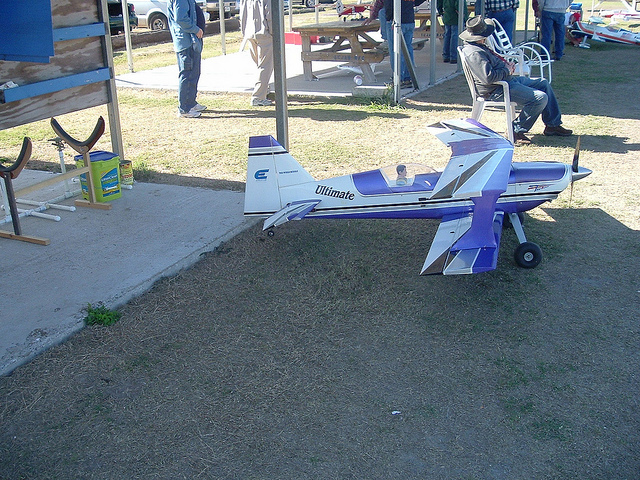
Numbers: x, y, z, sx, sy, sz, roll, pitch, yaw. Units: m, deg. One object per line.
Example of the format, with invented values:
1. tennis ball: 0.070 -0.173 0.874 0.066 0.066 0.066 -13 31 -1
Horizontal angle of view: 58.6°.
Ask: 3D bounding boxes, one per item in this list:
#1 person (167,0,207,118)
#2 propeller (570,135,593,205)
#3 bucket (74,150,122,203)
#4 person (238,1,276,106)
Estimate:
1. person: -2.385 -3.283 10.444 0.600 2.033 0.736 -5 25 -10
2. propeller: 2.695 -0.734 5.855 0.197 0.598 0.672 11 26 24
3. bucket: -2.725 -0.745 7.003 0.592 0.453 0.535 -3 14 2
4. person: -1.142 -3.607 11.143 0.427 1.954 0.839 -18 30 -32
